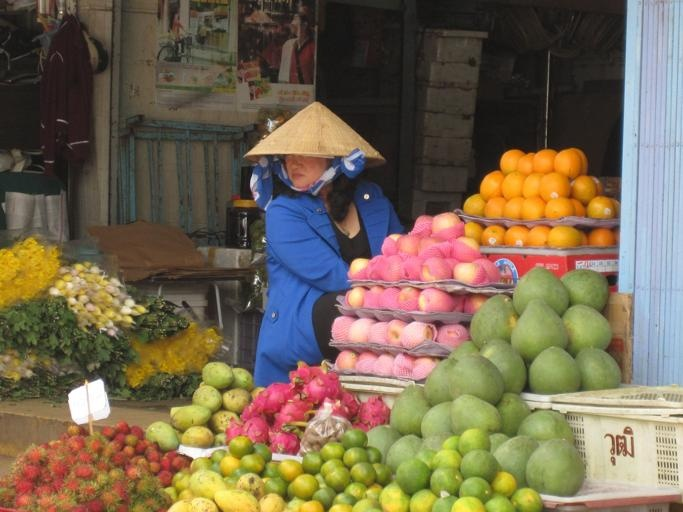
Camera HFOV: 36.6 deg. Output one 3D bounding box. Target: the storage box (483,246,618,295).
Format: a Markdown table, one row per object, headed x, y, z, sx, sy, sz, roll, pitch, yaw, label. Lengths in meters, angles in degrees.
| x | y | z | sx | sy | sz | roll | pitch | yaw | label |
| --- | --- | --- | --- | --- | --- | --- | --- | --- | --- |
| 1.246 | 0.065 | 5.865 | 0.503 | 0.231 | 0.528 | 1 | 6 | 3 | storage box |

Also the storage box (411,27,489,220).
| x | y | z | sx | sy | sz | roll | pitch | yaw | label |
| --- | --- | --- | --- | --- | --- | --- | --- | --- | --- |
| 1.102 | -1.466 | 10.876 | 0.669 | 2.150 | 0.308 | -9 | 11 | -33 | storage box |

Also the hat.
| x | y | z | sx | sy | sz | roll | pitch | yaw | label |
| --- | --- | --- | --- | --- | --- | --- | --- | --- | --- |
| -0.170 | -0.771 | 6.433 | 0.850 | 0.364 | 0.417 | -1 | 4 | -1 | hat |

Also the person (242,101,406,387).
| x | y | z | sx | sy | sz | roll | pitch | yaw | label |
| --- | --- | --- | --- | --- | --- | --- | --- | --- | --- |
| -0.104 | -0.170 | 6.619 | 0.768 | 1.939 | 0.806 | -5 | 12 | -45 | person |
